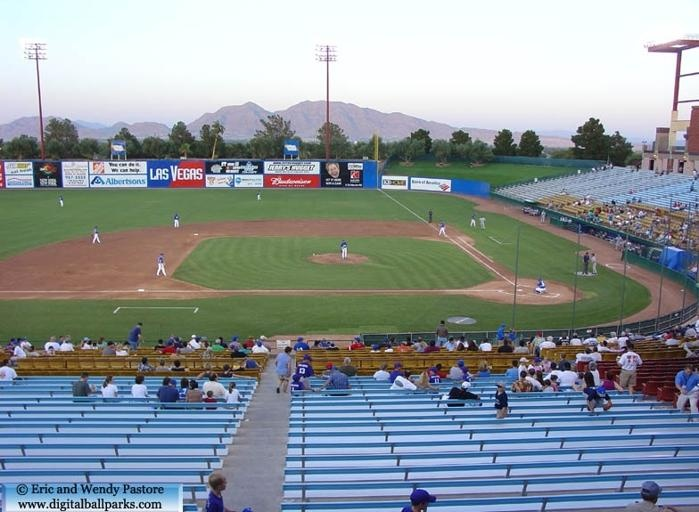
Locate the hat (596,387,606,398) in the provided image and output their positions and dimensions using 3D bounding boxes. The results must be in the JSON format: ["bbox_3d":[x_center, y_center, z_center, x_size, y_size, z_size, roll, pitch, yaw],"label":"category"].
[{"bbox_3d":[8.227,4.462,31.037,0.284,0.277,0.338,4,46,1],"label":"hat"}]

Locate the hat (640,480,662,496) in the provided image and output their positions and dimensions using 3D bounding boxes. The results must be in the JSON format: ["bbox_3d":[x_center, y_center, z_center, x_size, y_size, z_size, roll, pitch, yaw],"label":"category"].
[{"bbox_3d":[8.265,6.424,25.989,0.472,0.451,0.360,1,10,13],"label":"hat"}]

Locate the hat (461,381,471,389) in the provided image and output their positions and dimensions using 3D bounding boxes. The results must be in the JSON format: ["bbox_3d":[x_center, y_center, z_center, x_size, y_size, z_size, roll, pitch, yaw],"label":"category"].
[{"bbox_3d":[3.947,4.360,31.897,0.245,0.113,0.354,4,10,27],"label":"hat"}]

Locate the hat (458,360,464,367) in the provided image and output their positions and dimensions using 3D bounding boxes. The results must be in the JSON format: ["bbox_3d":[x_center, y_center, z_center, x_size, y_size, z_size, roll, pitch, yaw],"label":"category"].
[{"bbox_3d":[4.009,3.874,34.086,0.288,0.229,0.220,4,-1,-35],"label":"hat"}]

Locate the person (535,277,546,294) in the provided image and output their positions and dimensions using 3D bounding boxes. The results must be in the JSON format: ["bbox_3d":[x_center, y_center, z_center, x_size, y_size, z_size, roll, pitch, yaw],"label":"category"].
[{"bbox_3d":[10.461,1.554,51.868,0.569,0.838,0.747,0,10,8],"label":"person"}]
